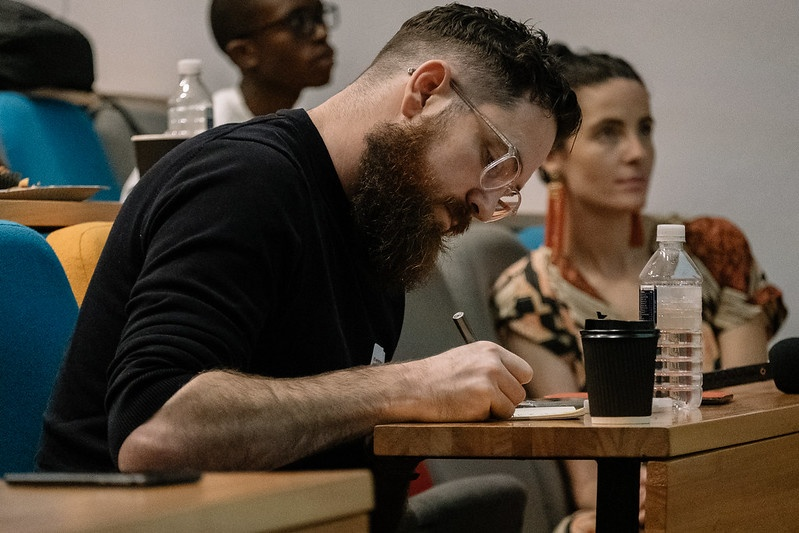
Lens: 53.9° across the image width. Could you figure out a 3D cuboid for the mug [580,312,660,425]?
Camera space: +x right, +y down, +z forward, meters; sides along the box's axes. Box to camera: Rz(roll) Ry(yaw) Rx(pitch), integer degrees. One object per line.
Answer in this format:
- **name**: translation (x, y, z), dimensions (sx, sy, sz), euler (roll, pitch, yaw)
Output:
- **mug**: translation (0.415, 0.188, 1.530), dimensions (0.120, 0.195, 0.125), euler (-14, 9, -1)
